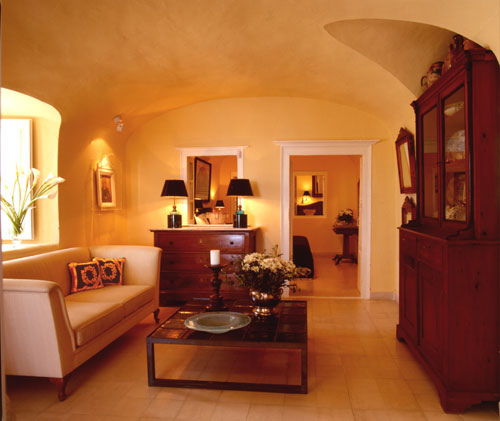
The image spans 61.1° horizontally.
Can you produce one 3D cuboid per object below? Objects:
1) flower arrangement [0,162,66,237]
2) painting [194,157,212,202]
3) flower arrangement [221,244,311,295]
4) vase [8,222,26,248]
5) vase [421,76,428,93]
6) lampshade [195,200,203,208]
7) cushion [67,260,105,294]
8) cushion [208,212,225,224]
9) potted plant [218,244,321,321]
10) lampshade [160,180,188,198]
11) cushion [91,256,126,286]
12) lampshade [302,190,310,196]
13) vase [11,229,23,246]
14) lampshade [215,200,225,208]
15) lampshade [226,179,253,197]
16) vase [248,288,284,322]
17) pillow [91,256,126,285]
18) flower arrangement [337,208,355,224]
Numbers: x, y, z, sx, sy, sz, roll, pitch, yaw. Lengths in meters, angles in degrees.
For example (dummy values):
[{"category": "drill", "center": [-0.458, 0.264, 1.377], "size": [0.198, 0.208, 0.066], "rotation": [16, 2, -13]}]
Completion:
[{"category": "flower arrangement", "center": [-2.402, -0.136, 4.502], "size": [0.552, 0.773, 0.689], "rotation": [3, 6, 33]}, {"category": "painting", "center": [-0.717, -0.471, 6.545], "size": [0.042, 0.639, 0.594], "rotation": [-2, 12, -29]}, {"category": "flower arrangement", "center": [0.095, 0.568, 3.789], "size": [0.651, 0.362, 0.611], "rotation": [2, -6, -19]}, {"category": "vase", "center": [-2.461, 0.237, 4.492], "size": [0.167, 0.256, 0.459], "rotation": [-3, 5, -28]}, {"category": "vase", "center": [1.772, -1.296, 4.323], "size": [0.051, 0.163, 0.170], "rotation": [1, 5, 14]}, {"category": "lampshade", "center": [-0.781, -0.103, 6.391], "size": [0.078, 0.152, 0.154], "rotation": [-3, -1, 24]}, {"category": "cushion", "center": [-1.704, 0.678, 4.398], "size": [0.084, 0.303, 0.294], "rotation": [-18, -8, 35]}, {"category": "cushion", "center": [-0.484, 0.106, 6.289], "size": [0.157, 0.175, 0.054], "rotation": [5, -2, 7]}, {"category": "potted plant", "center": [0.177, 0.636, 3.819], "size": [0.554, 0.473, 0.632], "rotation": [10, -3, 17]}, {"category": "lampshade", "center": [-1.042, -0.282, 5.752], "size": [0.243, 0.269, 0.246], "rotation": [0, -1, -45]}, {"category": "cushion", "center": [-1.530, 0.668, 4.593], "size": [0.254, 0.262, 0.095], "rotation": [0, -21, -18]}, {"category": "lampshade", "center": [1.343, -0.425, 10.114], "size": [0.113, 0.087, 0.118], "rotation": [1, 4, 26]}, {"category": "vase", "center": [-2.393, 0.276, 4.359], "size": [0.101, 0.188, 0.115], "rotation": [-3, 6, -34]}, {"category": "lampshade", "center": [-0.497, -0.112, 6.889], "size": [0.114, 0.116, 0.112], "rotation": [1, -3, -44]}, {"category": "lampshade", "center": [-0.127, -0.277, 5.646], "size": [0.247, 0.169, 0.245], "rotation": [0, -3, -39]}, {"category": "vase", "center": [0.141, 0.817, 3.758], "size": [0.263, 0.250, 0.254], "rotation": [1, -5, 0]}, {"category": "pillow", "center": [-1.532, 0.663, 4.593], "size": [0.255, 0.267, 0.096], "rotation": [1, -19, -17]}, {"category": "flower arrangement", "center": [2.165, 0.104, 9.557], "size": [0.435, 0.454, 0.260], "rotation": [-2, 5, -11]}]
